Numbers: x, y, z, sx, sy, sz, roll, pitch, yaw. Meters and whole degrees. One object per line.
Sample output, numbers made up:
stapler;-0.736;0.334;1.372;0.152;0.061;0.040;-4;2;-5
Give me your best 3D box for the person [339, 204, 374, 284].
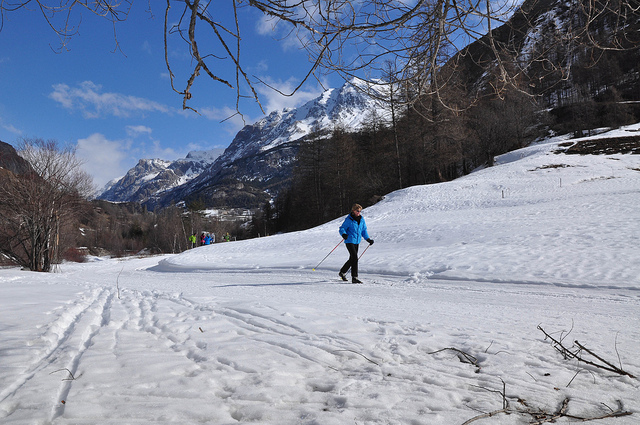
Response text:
person;0.924;0.836;12.461;0.943;2.125;1.371;-6;6;6
